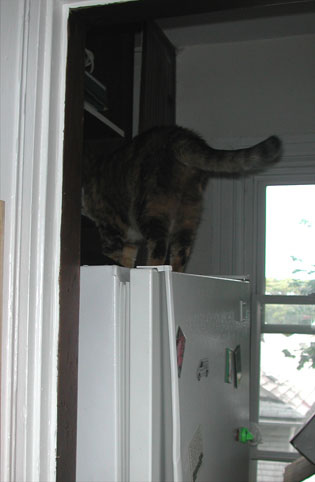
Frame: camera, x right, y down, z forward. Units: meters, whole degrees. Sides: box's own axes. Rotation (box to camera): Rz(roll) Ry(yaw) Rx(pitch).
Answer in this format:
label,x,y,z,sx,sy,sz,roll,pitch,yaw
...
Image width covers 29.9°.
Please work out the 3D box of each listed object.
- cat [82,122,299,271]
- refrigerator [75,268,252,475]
label,x,y,z,sx,sy,sz,roll,pitch,yaw
cat,-0.024,-0.090,1.958,0.790,0.573,0.187,-10,-19,42
refrigerator,0.001,0.201,0.880,0.101,0.380,0.325,-1,-5,20
